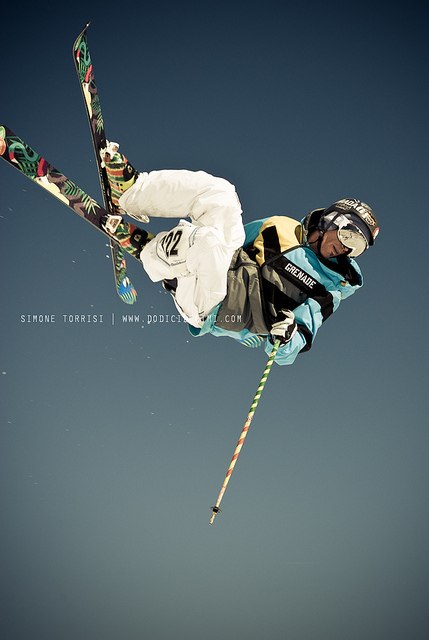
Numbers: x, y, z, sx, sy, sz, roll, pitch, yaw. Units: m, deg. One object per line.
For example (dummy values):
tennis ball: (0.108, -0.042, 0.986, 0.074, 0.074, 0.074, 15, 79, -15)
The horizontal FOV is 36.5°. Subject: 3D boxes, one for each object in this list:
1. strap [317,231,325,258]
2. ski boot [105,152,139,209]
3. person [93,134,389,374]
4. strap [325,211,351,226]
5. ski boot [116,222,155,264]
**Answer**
strap: (0.455, -0.330, 2.806, 0.012, 0.018, 0.103, 12, -77, 46)
ski boot: (-0.365, -0.533, 2.523, 0.134, 0.163, 0.254, 12, -65, -3)
person: (0.058, -0.328, 2.865, 1.317, 0.636, 0.661, 20, -69, 7)
strap: (0.517, -0.427, 2.738, 0.057, 0.077, 0.027, 30, -81, -37)
ski boot: (-0.353, -0.336, 2.699, 0.115, 0.259, 0.125, 10, -95, 27)
